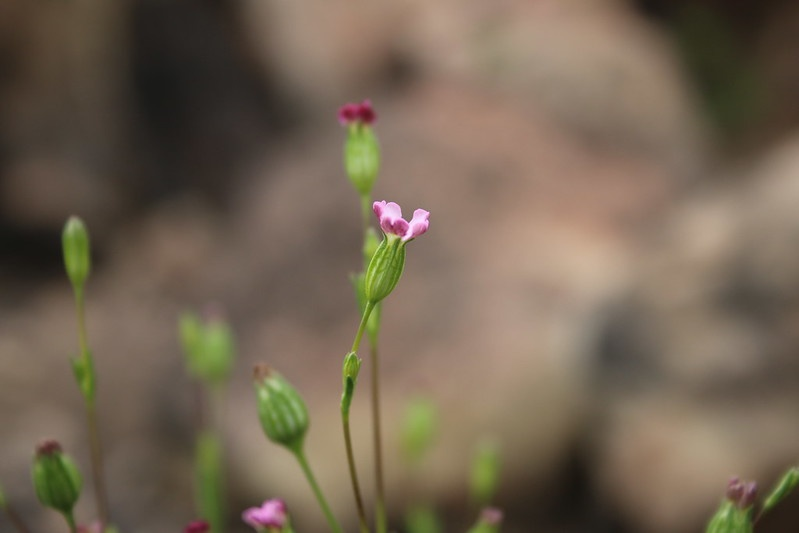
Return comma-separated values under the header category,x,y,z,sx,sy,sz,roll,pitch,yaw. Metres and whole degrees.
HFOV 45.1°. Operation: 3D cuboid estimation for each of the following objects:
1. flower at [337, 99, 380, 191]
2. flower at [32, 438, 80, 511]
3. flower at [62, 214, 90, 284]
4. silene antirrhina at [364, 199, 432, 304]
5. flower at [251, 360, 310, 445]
category,x,y,z,sx,sy,sz,roll,pitch,yaw
flower,-0.056,-0.180,1.455,0.065,0.130,0.070,19,32,30
flower,-0.487,0.300,1.365,0.064,0.099,0.040,-5,27,-13
flower,-0.484,-0.040,1.428,0.034,0.096,0.116,-9,31,-20
silene antirrhina,-0.011,-0.033,1.375,0.107,0.136,0.102,-11,30,-23
flower,-0.167,0.199,1.351,0.057,0.126,0.039,-24,10,18
